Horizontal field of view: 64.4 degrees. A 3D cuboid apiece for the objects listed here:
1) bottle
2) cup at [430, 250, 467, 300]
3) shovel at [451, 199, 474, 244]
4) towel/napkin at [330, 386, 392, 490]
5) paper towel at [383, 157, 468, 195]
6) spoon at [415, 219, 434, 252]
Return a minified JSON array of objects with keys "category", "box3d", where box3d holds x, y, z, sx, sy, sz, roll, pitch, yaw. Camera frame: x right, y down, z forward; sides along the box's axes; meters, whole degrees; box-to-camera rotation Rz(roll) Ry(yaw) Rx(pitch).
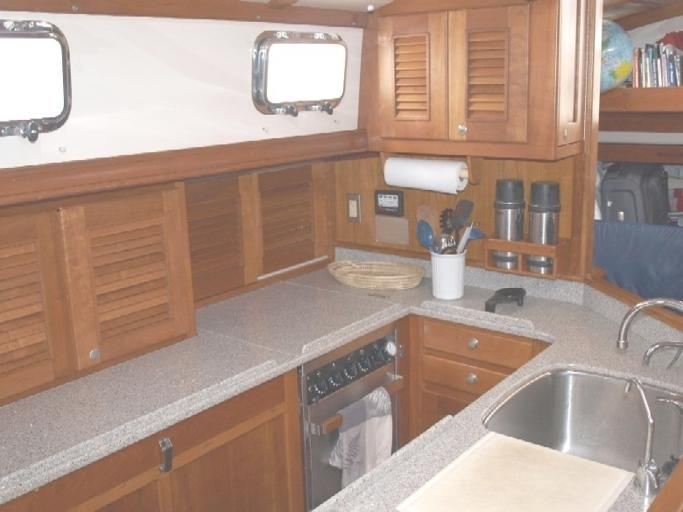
[{"category":"bottle","box3d":[0.835,-0.132,2.444,0.359,0.488,0.179,8,19,32]},{"category":"cup","box3d":[0.492,0.090,2.525,0.150,0.211,0.126,3,15,15]},{"category":"shovel","box3d":[0.581,-0.175,2.598,0.085,0.239,0.034,11,38,20]},{"category":"towel/napkin","box3d":[0.059,0.696,2.078,0.042,0.393,0.351,18,30,41]},{"category":"paper towel","box3d":[0.391,-0.382,2.533,0.363,0.155,0.132,9,17,29]},{"category":"spoon","box3d":[0.395,-0.100,2.556,0.064,0.153,0.026,-18,4,20]}]
